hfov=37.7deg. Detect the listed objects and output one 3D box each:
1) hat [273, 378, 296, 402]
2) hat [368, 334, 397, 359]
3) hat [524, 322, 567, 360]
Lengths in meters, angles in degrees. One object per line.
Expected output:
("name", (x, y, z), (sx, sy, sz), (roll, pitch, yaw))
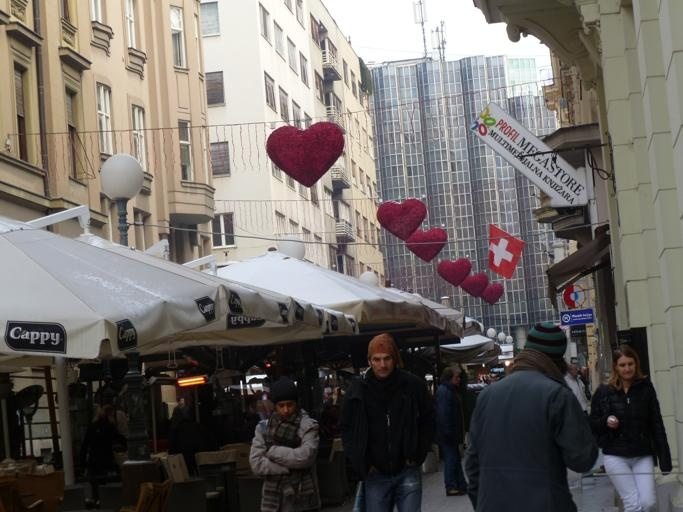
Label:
("hat", (-0.589, 1.383, 10.290), (0.266, 0.256, 0.316), (-4, -7, -5))
("hat", (0.374, 0.847, 9.397), (0.185, 0.251, 0.253), (1, -3, 2))
("hat", (1.626, 0.682, 7.987), (0.372, 0.292, 0.325), (-4, -7, -4))
